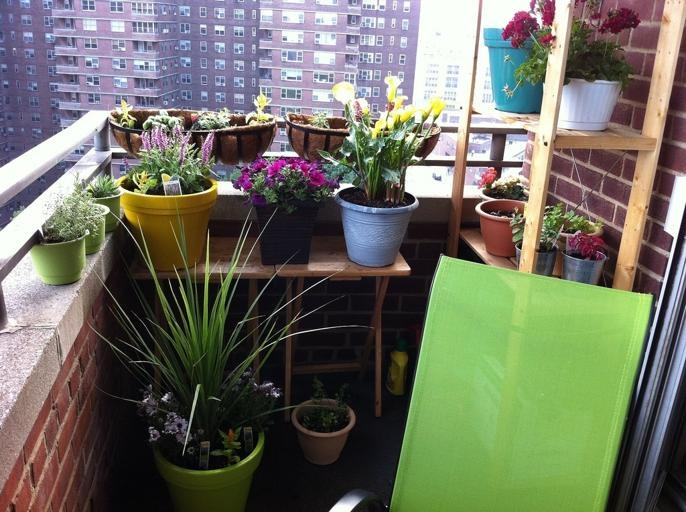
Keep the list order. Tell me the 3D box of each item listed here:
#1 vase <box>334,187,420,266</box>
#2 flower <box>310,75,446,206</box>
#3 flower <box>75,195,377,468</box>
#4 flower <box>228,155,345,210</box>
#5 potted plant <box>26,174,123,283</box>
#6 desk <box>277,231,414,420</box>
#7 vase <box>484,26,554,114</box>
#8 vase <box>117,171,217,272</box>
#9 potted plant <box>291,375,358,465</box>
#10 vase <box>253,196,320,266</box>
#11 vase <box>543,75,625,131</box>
[{"bbox_3d":[0.126,-0.121,2.121,0.331,0.264,0.330,-6,24,-26],"label":"vase"},{"bbox_3d":[0.122,-0.461,2.107,0.464,0.453,0.486,-5,31,-8],"label":"flower"},{"bbox_3d":[-0.451,0.248,2.044,0.987,0.831,0.770,1,15,-20],"label":"flower"},{"bbox_3d":[-0.233,-0.282,1.919,0.262,0.123,0.257,13,27,24],"label":"flower"},{"bbox_3d":[-0.854,-0.087,1.582,0.142,0.156,0.344,9,35,-5],"label":"potted plant"},{"bbox_3d":[0.003,0.271,2.509,0.667,0.994,0.810,-2,15,-7],"label":"desk"},{"bbox_3d":[0.761,-0.809,2.115,0.280,0.326,0.294,-11,26,-3],"label":"vase"},{"bbox_3d":[-0.640,-0.133,1.905,0.340,0.288,0.336,-15,26,-42],"label":"vase"},{"bbox_3d":[-0.107,0.777,2.238,0.246,0.266,0.245,8,-11,-15],"label":"potted plant"},{"bbox_3d":[-0.218,-0.089,2.000,0.255,0.270,0.232,-1,24,-7],"label":"vase"},{"bbox_3d":[0.896,-0.541,1.835,0.192,0.131,0.204,3,16,-2],"label":"vase"}]
